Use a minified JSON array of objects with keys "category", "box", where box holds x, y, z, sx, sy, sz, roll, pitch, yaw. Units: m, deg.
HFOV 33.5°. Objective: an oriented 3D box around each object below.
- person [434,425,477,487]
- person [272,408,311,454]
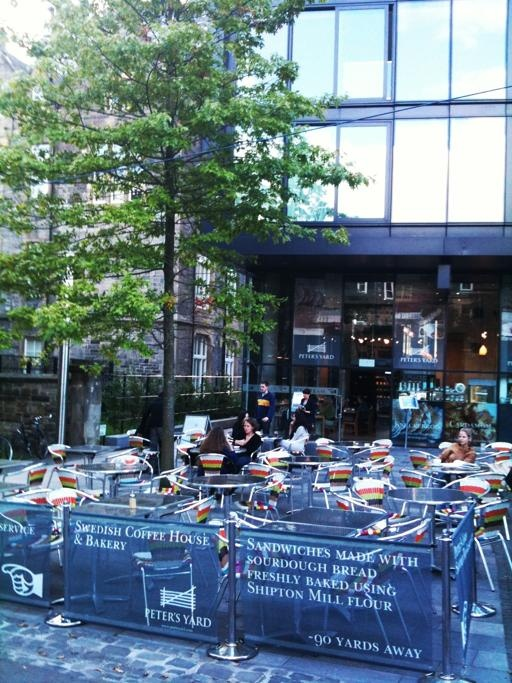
[{"category":"person","box":[2.673,1.689,11.599,0.495,0.990,0.543,14,-7,16]},{"category":"person","box":[0.607,1.681,15.391,0.616,0.893,0.406,9,-1,-1]}]
